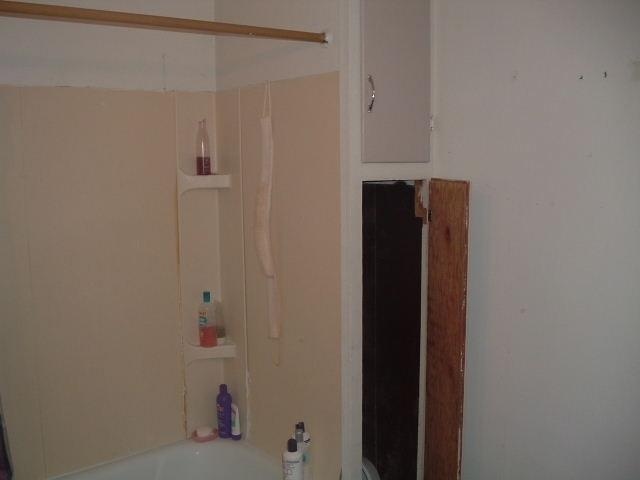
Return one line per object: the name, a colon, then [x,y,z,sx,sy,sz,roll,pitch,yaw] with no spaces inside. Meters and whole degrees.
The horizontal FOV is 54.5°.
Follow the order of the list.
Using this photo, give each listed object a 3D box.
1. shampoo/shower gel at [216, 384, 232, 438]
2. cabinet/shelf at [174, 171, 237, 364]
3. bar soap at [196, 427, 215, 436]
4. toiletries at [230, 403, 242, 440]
shampoo/shower gel: [-0.411,0.742,2.689,0.080,0.230,0.063,0,3,14]
cabinet/shelf: [-0.590,0.053,2.846,0.353,0.304,1.258,11,20,-9]
bar soap: [-0.495,0.834,2.680,0.053,0.029,0.037,-3,9,-43]
toiletries: [-0.360,0.784,2.662,0.052,0.145,0.026,2,4,41]
